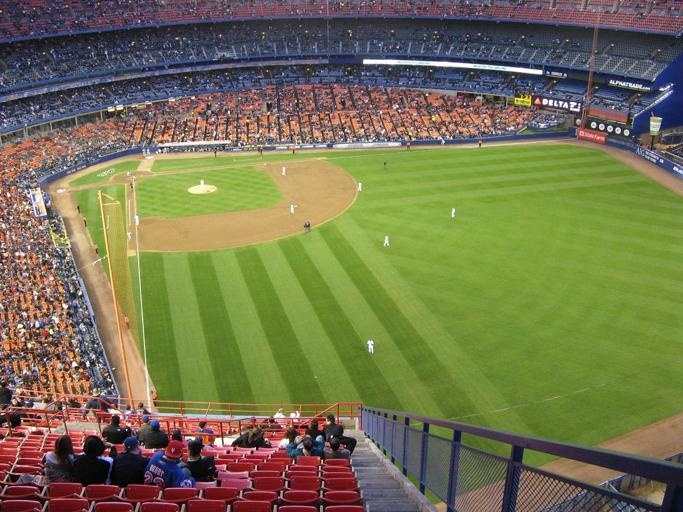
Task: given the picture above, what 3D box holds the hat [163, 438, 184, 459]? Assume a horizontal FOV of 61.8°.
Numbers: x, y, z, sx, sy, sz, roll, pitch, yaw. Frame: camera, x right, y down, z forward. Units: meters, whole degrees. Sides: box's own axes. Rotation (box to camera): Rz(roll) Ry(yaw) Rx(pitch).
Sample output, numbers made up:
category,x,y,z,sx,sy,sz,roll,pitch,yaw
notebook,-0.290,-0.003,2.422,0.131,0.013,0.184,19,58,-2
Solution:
category,x,y,z,sx,sy,sz,roll,pitch,yaw
hat,-4.018,4.630,13.529,0.489,0.463,0.315,-14,1,-5
